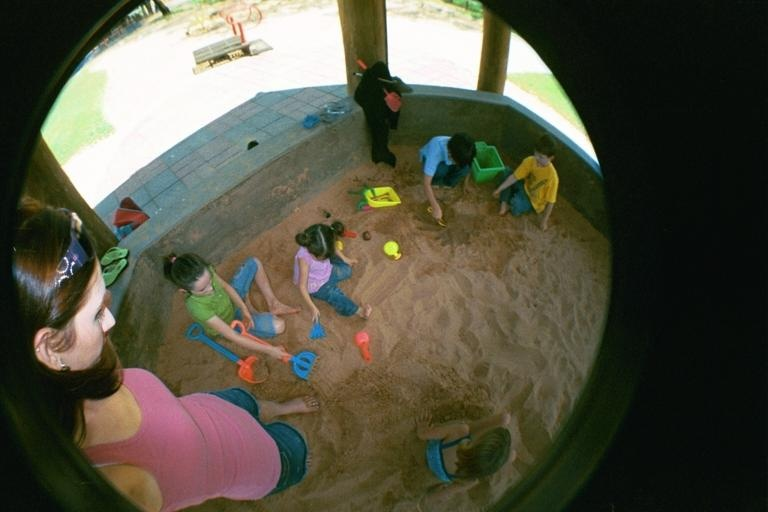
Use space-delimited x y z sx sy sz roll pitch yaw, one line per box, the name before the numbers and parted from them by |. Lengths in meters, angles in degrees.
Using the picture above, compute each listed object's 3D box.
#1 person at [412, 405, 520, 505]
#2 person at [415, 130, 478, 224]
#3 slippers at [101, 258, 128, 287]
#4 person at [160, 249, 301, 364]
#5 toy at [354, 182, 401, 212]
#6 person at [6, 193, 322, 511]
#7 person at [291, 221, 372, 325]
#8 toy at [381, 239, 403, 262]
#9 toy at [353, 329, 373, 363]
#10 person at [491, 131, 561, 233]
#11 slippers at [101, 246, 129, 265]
person | 0.524 1.285 3.804 0.726 0.287 0.438 -14 78 -3
person | 0.562 -0.656 5.192 0.453 0.755 0.633 -20 82 -6
slippers | -1.874 0.113 4.116 0.119 0.043 0.185 45 41 -10
person | -1.082 0.328 4.125 0.776 1.040 0.857 -8 74 3
toy | -0.044 -0.514 5.297 0.298 0.094 0.229 -4 51 -10
person | -1.237 0.598 3.448 1.233 1.406 0.839 -29 68 -28
person | -0.320 0.114 4.352 0.681 0.779 0.686 10 70 -15
toy | 0.066 -0.045 4.859 0.120 0.124 0.160 -19 59 -41
toy | -0.143 0.653 4.249 0.091 0.068 0.207 -19 66 1
person | 1.249 -0.610 5.133 0.494 0.710 0.551 -28 78 -2
slippers | -1.914 0.017 4.257 0.177 0.064 0.113 -22 65 -14
